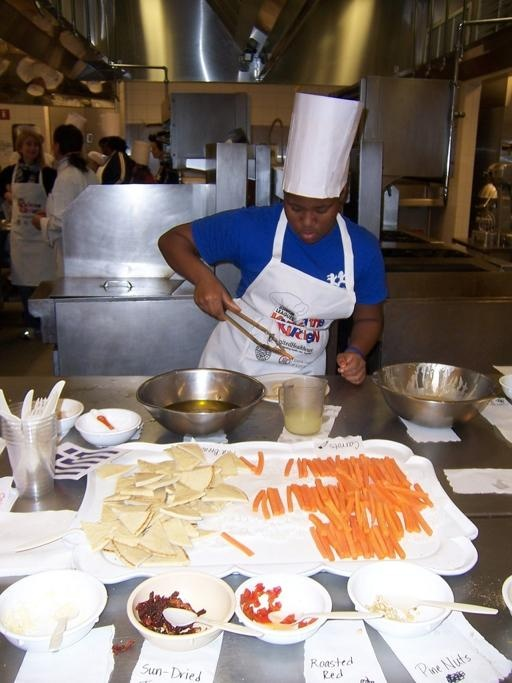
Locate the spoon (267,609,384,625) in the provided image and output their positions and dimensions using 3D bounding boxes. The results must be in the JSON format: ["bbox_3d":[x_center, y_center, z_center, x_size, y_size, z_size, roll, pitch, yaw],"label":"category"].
[{"bbox_3d":[0.079,0.321,0.611,0.120,0.017,0.022,-6,38,12],"label":"spoon"}]

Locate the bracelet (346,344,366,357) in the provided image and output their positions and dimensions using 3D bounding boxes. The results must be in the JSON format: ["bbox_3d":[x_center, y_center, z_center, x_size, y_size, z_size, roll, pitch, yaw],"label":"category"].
[{"bbox_3d":[0.316,0.032,1.667,0.044,0.031,0.043,9,23,-41],"label":"bracelet"}]

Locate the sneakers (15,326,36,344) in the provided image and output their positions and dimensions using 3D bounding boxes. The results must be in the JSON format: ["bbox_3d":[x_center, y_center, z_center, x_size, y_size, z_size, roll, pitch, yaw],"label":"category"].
[{"bbox_3d":[-2.232,-0.061,5.050,0.254,0.107,0.109,12,-12,19],"label":"sneakers"}]

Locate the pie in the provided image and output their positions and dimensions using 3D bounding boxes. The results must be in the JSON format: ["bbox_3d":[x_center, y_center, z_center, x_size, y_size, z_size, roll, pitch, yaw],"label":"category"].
[{"bbox_3d":[-0.155,0.266,0.885,0.197,0.251,0.015,48,17,31],"label":"pie"}]

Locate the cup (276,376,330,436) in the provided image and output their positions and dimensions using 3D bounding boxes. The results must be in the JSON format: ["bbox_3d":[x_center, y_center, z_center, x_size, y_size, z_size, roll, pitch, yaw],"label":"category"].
[{"bbox_3d":[0.105,0.156,1.256,0.121,0.116,0.096,7,13,28],"label":"cup"}]

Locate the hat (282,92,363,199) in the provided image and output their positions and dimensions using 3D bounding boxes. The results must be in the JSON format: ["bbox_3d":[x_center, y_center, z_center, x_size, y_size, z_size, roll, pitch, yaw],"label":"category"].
[{"bbox_3d":[0.195,-0.585,1.571,0.214,0.306,0.271,6,18,7],"label":"hat"}]

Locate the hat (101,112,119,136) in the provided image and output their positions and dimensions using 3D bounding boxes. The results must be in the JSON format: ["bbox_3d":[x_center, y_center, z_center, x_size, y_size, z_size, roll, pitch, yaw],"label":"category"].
[{"bbox_3d":[-1.657,-2.465,5.976,0.196,0.246,0.356,-1,18,-13],"label":"hat"}]

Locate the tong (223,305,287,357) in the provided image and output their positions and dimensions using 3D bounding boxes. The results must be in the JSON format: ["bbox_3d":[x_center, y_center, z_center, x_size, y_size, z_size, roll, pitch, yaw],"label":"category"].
[{"bbox_3d":[0.007,-0.033,1.751,0.253,0.058,0.046,31,49,-20],"label":"tong"}]

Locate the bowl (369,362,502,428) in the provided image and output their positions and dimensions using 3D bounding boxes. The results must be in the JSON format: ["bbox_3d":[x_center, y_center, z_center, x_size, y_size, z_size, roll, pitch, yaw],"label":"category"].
[{"bbox_3d":[0.433,0.138,1.324,0.246,0.086,0.262,-2,15,0],"label":"bowl"}]

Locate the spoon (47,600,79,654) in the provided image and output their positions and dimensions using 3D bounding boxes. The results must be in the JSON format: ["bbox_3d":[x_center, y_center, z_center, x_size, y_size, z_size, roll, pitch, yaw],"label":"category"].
[{"bbox_3d":[-0.225,0.330,0.596,0.017,0.011,0.047,-1,6,-6],"label":"spoon"}]

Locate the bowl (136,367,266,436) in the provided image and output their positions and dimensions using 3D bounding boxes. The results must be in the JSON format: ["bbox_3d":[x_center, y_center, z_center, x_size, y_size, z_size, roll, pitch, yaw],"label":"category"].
[{"bbox_3d":[-0.127,0.159,1.217,0.286,0.120,0.241,3,17,-2],"label":"bowl"}]
